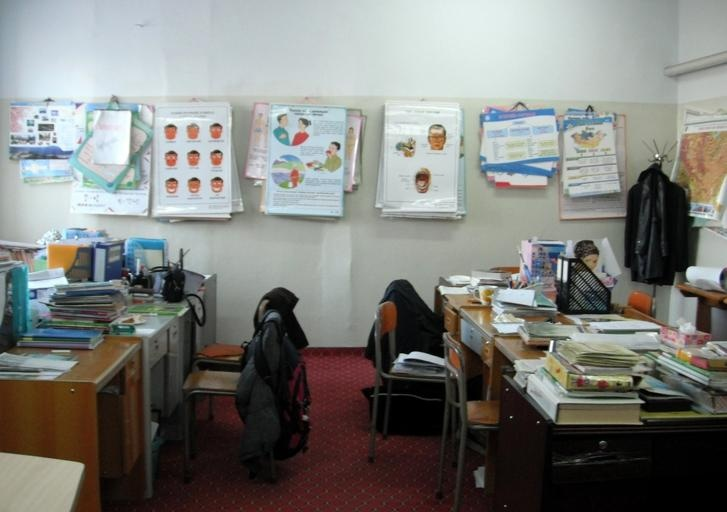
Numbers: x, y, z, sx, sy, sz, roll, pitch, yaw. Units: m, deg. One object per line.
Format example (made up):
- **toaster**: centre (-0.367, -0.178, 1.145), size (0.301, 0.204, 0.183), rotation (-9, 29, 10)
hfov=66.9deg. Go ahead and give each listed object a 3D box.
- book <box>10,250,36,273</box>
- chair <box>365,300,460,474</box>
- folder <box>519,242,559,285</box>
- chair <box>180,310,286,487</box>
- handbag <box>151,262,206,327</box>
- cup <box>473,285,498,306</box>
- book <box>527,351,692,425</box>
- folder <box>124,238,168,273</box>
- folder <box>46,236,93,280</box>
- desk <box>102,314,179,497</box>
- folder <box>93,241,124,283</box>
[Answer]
- **book**: centre (-2.420, 0.036, 3.919), size (0.198, 0.150, 0.079), rotation (7, 15, 24)
- **chair**: centre (0.382, 0.849, 3.800), size (0.604, 1.035, 0.537), rotation (-1, 0, 12)
- **folder**: centre (1.323, 0.050, 3.880), size (0.216, 0.285, 0.165), rotation (-3, -12, 39)
- **chair**: centre (-0.826, 0.846, 3.456), size (0.663, 1.013, 0.561), rotation (1, 14, -1)
- **handbag**: centre (-1.334, 0.267, 3.925), size (0.387, 0.438, 0.221), rotation (2, 3, -2)
- **cup**: centre (0.859, 0.279, 3.852), size (0.154, 0.113, 0.100), rotation (0, 4, 9)
- **book**: centre (1.062, 0.570, 2.530), size (0.466, 0.156, 0.356), rotation (2, 4, -5)
- **folder**: centre (-1.661, -0.017, 4.198), size (0.284, 0.239, 0.148), rotation (0, 20, -21)
- **folder**: centre (-1.966, -0.004, 3.749), size (0.286, 0.283, 0.280), rotation (2, 4, 8)
- **desk**: centre (-1.327, 0.871, 3.231), size (0.315, 0.638, 0.985), rotation (0, 11, -5)
- **folder**: centre (-1.822, 0.048, 3.909), size (0.094, 0.285, 0.304), rotation (5, 4, -6)
